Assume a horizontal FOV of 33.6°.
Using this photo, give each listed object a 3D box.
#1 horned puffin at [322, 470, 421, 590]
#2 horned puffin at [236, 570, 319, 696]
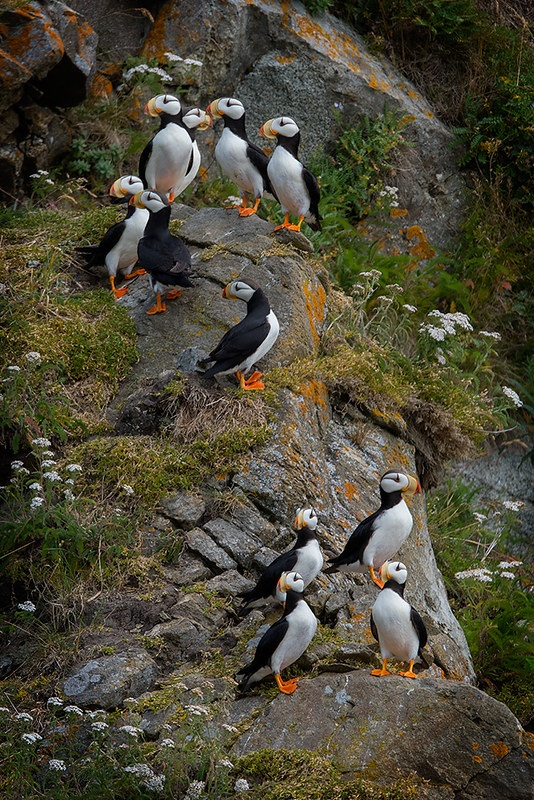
[{"bbox_3d":[0.600,0.722,4.787,0.270,0.666,0.308,31,23,8],"label":"horned puffin"},{"bbox_3d":[0.078,1.123,4.088,0.288,0.592,0.370,27,23,-1],"label":"horned puffin"}]
